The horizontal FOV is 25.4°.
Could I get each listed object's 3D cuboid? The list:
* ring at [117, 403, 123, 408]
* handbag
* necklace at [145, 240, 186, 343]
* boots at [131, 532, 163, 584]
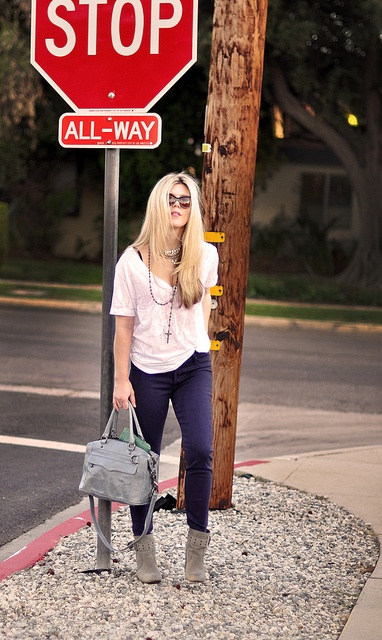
[{"bbox_3d":[-0.297,0.349,3.502,0.015,0.017,0.017,-1,21,1],"label":"ring"},{"bbox_3d":[-0.293,0.547,3.463,0.289,0.353,0.150,4,7,23],"label":"handbag"},{"bbox_3d":[-0.119,-0.096,3.493,0.119,0.371,0.074,0,7,-5],"label":"necklace"},{"bbox_3d":[-0.188,1.015,3.635,0.089,0.182,0.252,1,-3,-18],"label":"boots"}]
